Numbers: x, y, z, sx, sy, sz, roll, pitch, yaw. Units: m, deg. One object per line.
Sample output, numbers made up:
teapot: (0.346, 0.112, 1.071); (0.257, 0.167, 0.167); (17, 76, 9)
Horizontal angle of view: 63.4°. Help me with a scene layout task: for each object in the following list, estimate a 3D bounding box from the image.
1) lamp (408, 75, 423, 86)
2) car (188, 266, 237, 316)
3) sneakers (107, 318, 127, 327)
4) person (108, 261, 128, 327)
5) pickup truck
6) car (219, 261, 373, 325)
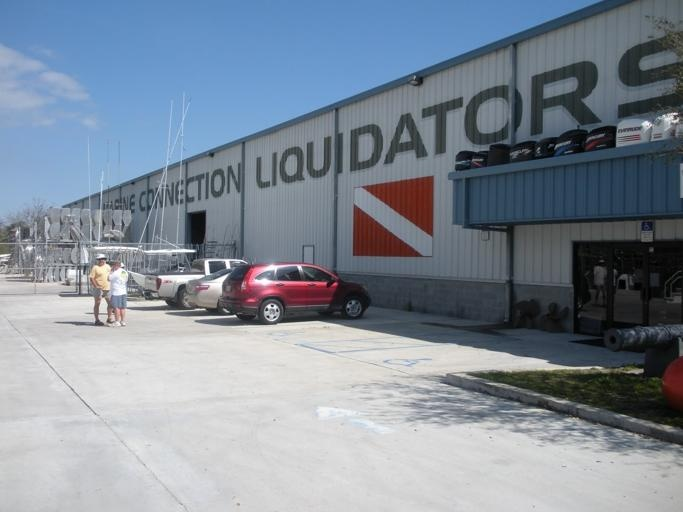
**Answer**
lamp: (2.761, -6.471, 20.521); (0.378, 0.275, 0.389); (10, -14, -22)
car: (-4.144, 1.150, 18.987); (2.177, 0.993, 1.143); (-2, 3, -32)
sneakers: (-6.712, 1.957, 16.300); (0.618, 0.280, 0.229); (-4, -6, 40)
person: (-6.570, 1.101, 16.045); (0.459, 1.935, 1.324); (0, 2, -24)
pickup truck: (-6.073, 0.856, 20.737); (3.858, 1.465, 1.871); (-4, 4, -32)
car: (-1.612, 1.125, 17.692); (3.887, 1.551, 1.933); (-2, 0, -30)
